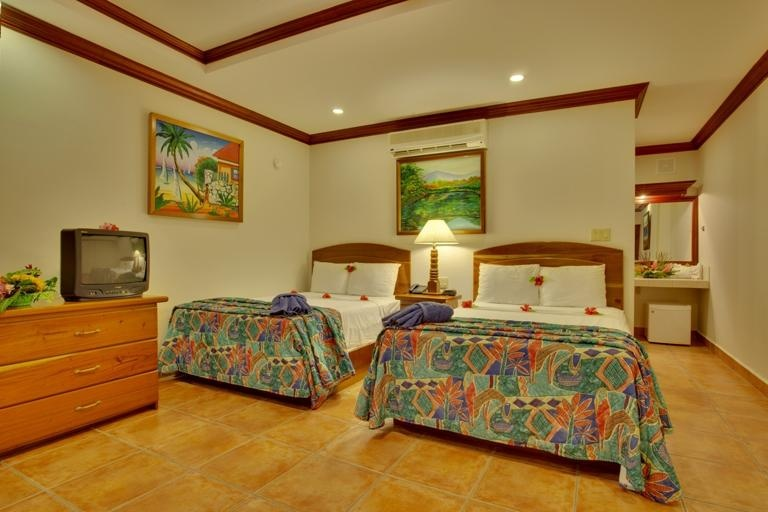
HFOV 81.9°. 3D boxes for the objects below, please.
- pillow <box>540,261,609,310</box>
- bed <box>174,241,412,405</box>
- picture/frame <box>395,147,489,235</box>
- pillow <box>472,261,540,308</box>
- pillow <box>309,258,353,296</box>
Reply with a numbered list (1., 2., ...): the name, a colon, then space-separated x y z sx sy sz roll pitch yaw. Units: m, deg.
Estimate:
1. pillow: 2.237 0.373 5.148 0.574 0.388 0.193 0 -12 16
2. bed: -0.849 0.761 5.341 1.890 1.194 2.080 0 -2 33
3. picture/frame: 0.851 -0.899 6.051 1.353 1.016 0.099 -1 -3 23
4. pillow: 1.611 0.320 5.653 0.232 0.506 0.818 -25 -5 15
5. pillow: -0.769 0.326 6.380 0.699 0.444 0.251 1 7 32
